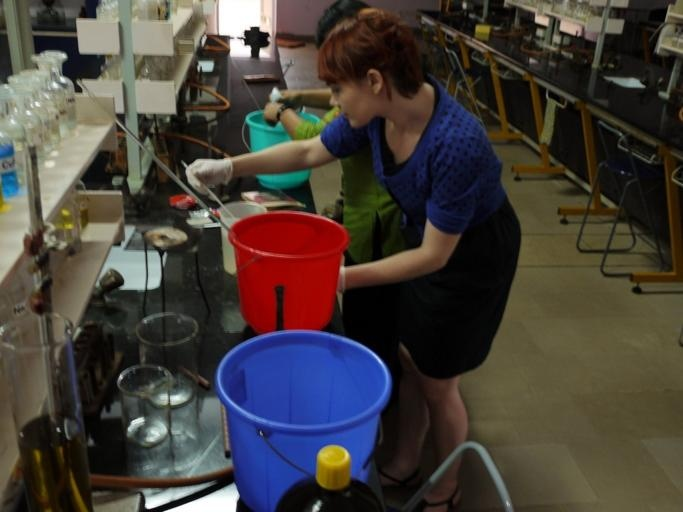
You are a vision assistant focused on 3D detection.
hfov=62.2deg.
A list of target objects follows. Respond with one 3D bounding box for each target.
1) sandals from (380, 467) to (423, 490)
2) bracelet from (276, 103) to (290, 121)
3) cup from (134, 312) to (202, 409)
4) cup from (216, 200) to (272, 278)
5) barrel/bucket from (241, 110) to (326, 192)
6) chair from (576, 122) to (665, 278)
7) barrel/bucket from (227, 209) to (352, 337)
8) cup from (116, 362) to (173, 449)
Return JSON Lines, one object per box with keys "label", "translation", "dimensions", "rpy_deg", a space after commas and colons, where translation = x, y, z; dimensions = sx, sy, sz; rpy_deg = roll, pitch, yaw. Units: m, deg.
{"label": "sandals", "translation": [0.236, 0.907, 2.336], "dimensions": [0.199, 0.086, 0.075], "rpy_deg": [1, 47, -5]}
{"label": "bracelet", "translation": [-0.264, -0.628, 2.482], "dimensions": [0.040, 0.074, 0.069], "rpy_deg": [20, -1, 25]}
{"label": "cup", "translation": [-0.426, 0.256, 1.428], "dimensions": [0.175, 0.219, 0.177], "rpy_deg": [-2, -3, 0]}
{"label": "cup", "translation": [-0.306, -0.094, 1.835], "dimensions": [0.188, 0.257, 0.219], "rpy_deg": [-3, 35, -10]}
{"label": "barrel/bucket", "translation": [-0.273, -0.473, 2.624], "dimensions": [0.314, 0.299, 0.349], "rpy_deg": [-9, 22, -28]}
{"label": "chair", "translation": [2.081, -0.380, 4.168], "dimensions": [0.454, 1.114, 0.571], "rpy_deg": [-12, 37, 6]}
{"label": "barrel/bucket", "translation": [-0.145, 0.071, 1.551], "dimensions": [0.309, 0.306, 0.278], "rpy_deg": [-4, 27, -12]}
{"label": "cup", "translation": [-0.442, 0.335, 1.284], "dimensions": [0.114, 0.143, 0.128], "rpy_deg": [-8, 28, -20]}
